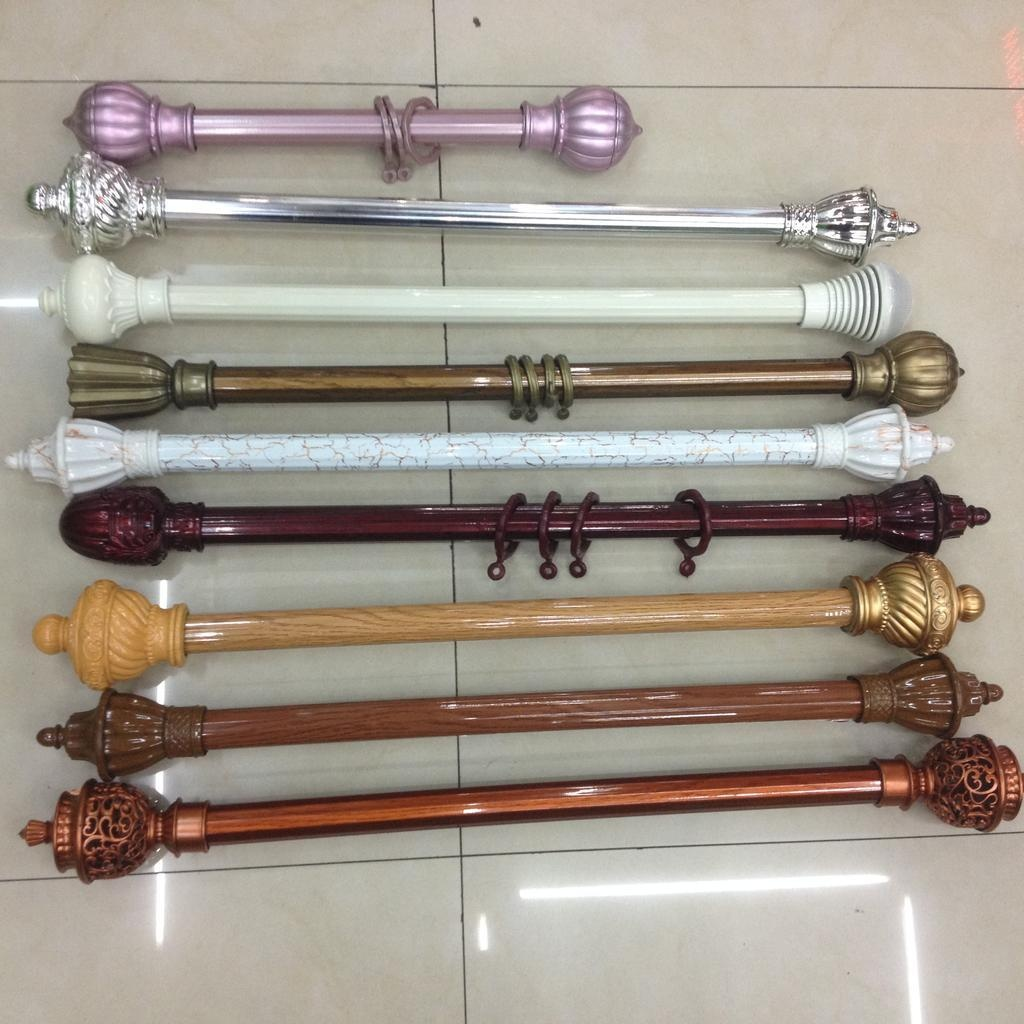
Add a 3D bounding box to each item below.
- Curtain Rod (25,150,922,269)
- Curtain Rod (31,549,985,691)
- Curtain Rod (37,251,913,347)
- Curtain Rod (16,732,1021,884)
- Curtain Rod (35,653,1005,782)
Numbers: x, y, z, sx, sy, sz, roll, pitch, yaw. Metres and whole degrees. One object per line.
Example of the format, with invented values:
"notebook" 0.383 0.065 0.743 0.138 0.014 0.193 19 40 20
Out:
"Curtain Rod" -0.143 -0.559 2.492 1.594 0.229 0.192 1 -79 -1
"Curtain Rod" -0.075 0.196 2.435 1.564 0.221 0.185 -1 -73 0
"Curtain Rod" -0.126 -0.389 2.467 1.512 0.207 0.183 0 -84 0
"Curtain Rod" -0.061 0.531 2.419 2.100 0.242 0.219 -2 -96 -5
"Curtain Rod" 0.013 0.352 2.395 1.733 0.194 0.181 -3 -73 5
